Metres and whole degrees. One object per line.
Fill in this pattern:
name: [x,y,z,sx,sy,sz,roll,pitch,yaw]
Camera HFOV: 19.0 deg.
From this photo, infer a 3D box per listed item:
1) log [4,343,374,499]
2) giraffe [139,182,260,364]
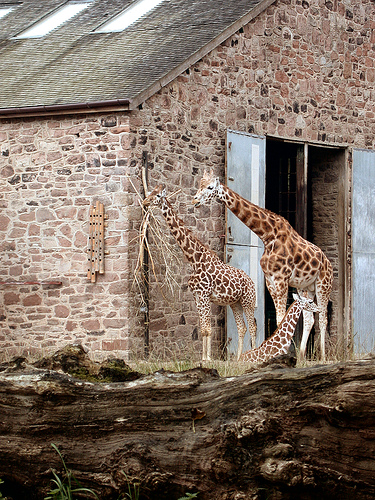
log: [0.057,1.077,6.647,1.246,0.515,1.300,-10,-22,40]
giraffe: [0.116,0.217,11.841,1.308,2.012,2.925,0,-7,3]
